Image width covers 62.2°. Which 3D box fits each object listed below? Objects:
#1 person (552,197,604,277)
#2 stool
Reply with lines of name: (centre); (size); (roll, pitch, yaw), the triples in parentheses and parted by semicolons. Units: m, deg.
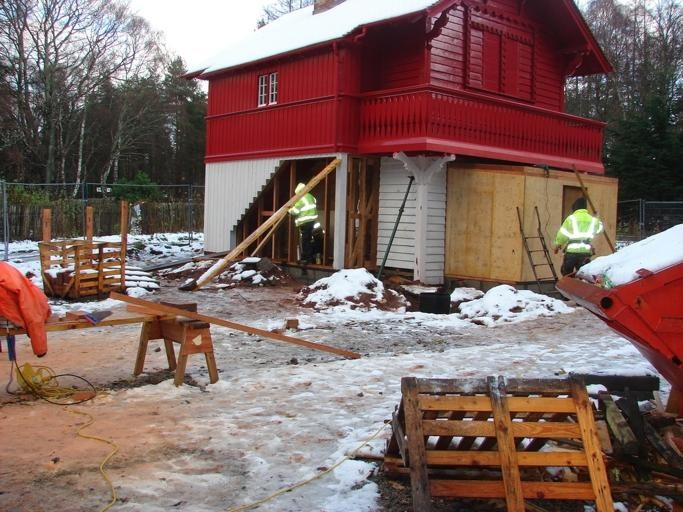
person: (5.672, -0.482, 13.598); (0.994, 1.826, 0.645); (3, 6, 12)
stool: (-2.374, 1.156, 8.029); (0.934, 1.036, 1.490); (-5, 9, -43)
